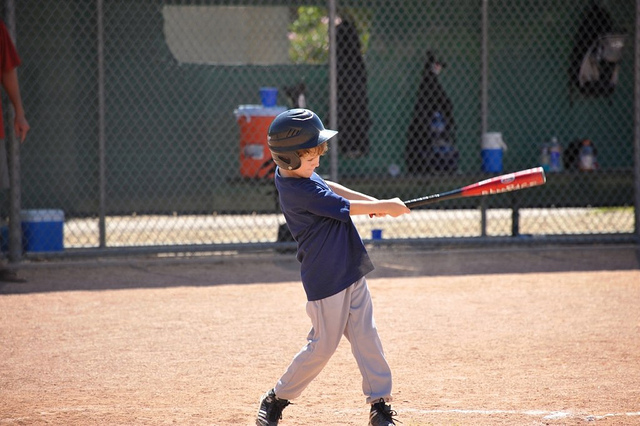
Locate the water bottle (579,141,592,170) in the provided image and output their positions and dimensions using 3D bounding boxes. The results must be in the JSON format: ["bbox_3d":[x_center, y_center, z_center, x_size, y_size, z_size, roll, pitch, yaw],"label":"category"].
[{"bbox_3d":[3.054,-0.667,12.552,0.157,0.315,0.176,2,3,24],"label":"water bottle"}]

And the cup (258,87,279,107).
[{"bbox_3d":[-0.604,-1.314,12.417,0.239,0.229,0.276,0,3,-3],"label":"cup"}]

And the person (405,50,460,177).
[{"bbox_3d":[1.239,-1.106,12.119,0.590,1.381,0.794,1,3,5],"label":"person"}]

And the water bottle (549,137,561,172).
[{"bbox_3d":[2.726,-0.687,12.646,0.112,0.374,0.400,1,3,10],"label":"water bottle"}]

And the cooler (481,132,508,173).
[{"bbox_3d":[1.891,-0.655,11.872,0.269,0.431,0.557,1,3,8],"label":"cooler"}]

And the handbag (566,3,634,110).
[{"bbox_3d":[3.325,-1.887,13.022,0.718,1.317,0.296,4,7,-25],"label":"handbag"}]
